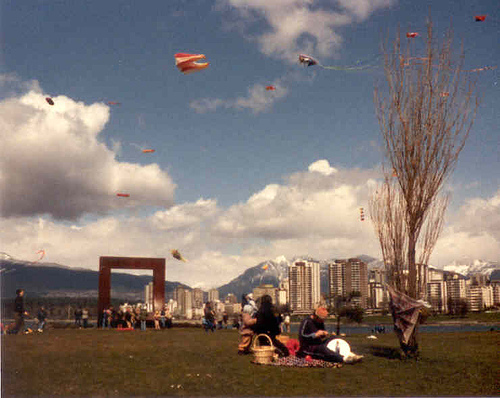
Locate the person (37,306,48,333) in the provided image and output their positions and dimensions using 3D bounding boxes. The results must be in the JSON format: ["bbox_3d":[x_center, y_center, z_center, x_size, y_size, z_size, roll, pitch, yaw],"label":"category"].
[{"bbox_3d":[-10.803,6.357,44.730,0.465,1.422,1.483,1,-13,-14],"label":"person"}]

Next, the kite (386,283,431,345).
[{"bbox_3d":[6.370,4.841,35.961,1.748,2.464,2.399,-5,-16,18],"label":"kite"}]

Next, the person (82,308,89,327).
[{"bbox_3d":[-9.155,6.728,48.053,0.384,1.034,0.665,1,-13,-13],"label":"person"}]

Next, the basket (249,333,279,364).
[{"bbox_3d":[0.539,6.188,34.960,1.006,1.191,1.146,11,-17,-41],"label":"basket"}]

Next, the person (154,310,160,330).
[{"bbox_3d":[-5.189,6.942,48.575,0.309,0.981,0.899,0,-13,-8],"label":"person"}]

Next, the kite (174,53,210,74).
[{"bbox_3d":[-2.657,-6.266,39.001,0.939,0.826,1.561,10,-17,-44],"label":"kite"}]

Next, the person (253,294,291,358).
[{"bbox_3d":[0.931,5.284,35.164,1.243,2.627,0.732,-1,-13,-5],"label":"person"}]

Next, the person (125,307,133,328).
[{"bbox_3d":[-6.702,6.702,48.060,0.415,1.185,0.602,1,-13,-10],"label":"person"}]

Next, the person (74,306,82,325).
[{"bbox_3d":[-9.612,6.623,48.321,0.357,1.058,0.675,1,-13,-11],"label":"person"}]
